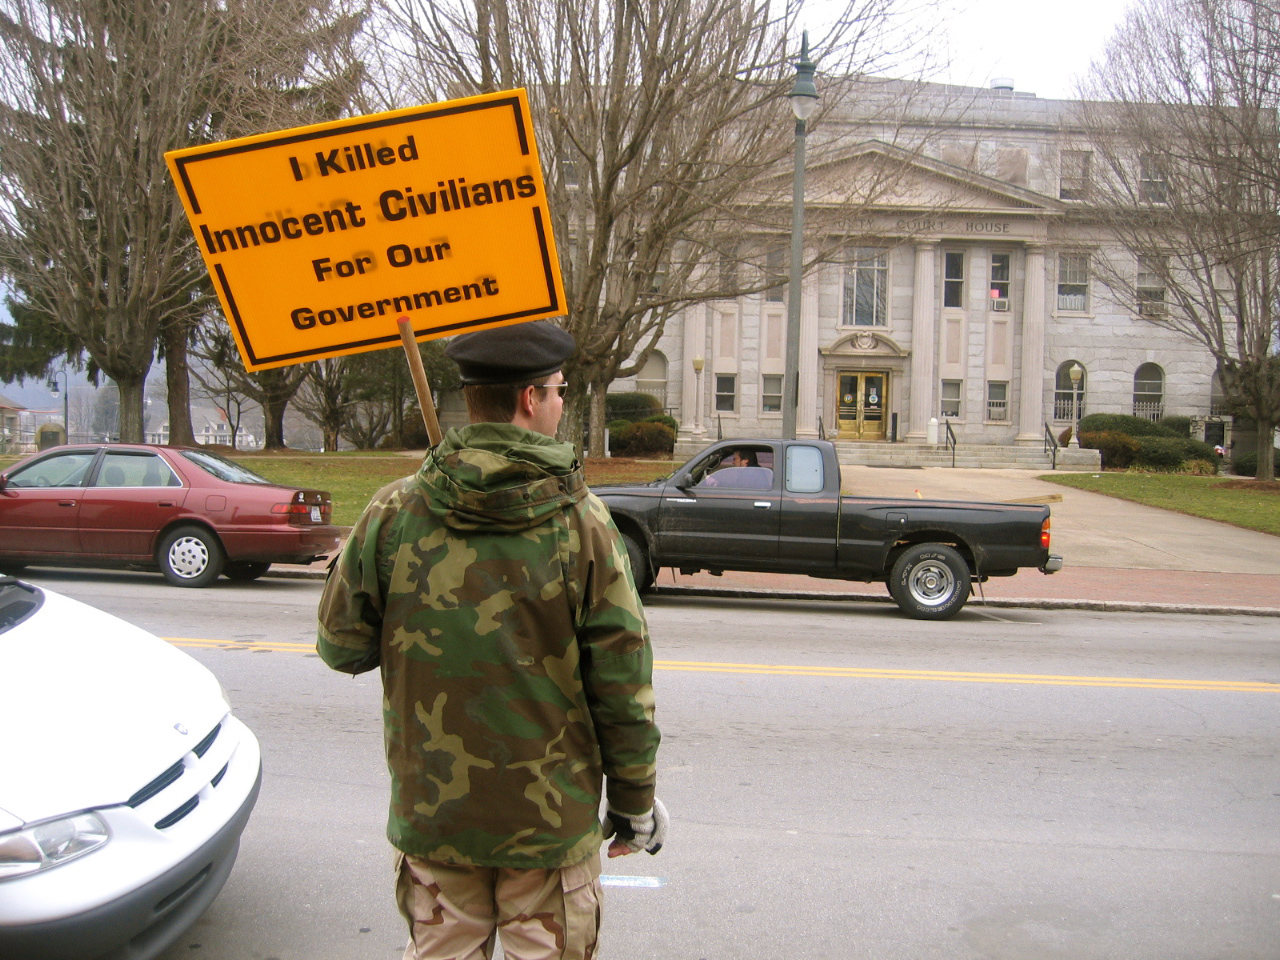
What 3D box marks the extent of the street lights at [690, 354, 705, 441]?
[{"bbox_3d":[1.944,-2.726,46.574,0.417,2.070,0.998,2,5,3],"label":"street lights"}]
